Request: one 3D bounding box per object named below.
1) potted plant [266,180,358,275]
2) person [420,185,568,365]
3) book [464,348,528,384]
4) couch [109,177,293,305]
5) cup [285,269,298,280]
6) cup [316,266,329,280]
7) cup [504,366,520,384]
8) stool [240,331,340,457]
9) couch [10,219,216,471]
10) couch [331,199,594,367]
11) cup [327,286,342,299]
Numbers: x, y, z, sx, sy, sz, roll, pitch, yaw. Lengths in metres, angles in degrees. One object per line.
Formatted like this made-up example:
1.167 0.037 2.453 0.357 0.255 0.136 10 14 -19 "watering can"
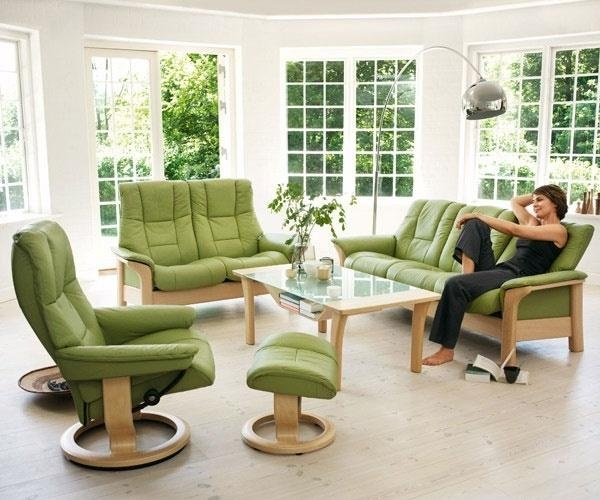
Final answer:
0.110 -0.204 5.366 1.202 0.921 0.990 3 12 9 "potted plant"
1.372 0.123 4.106 1.331 1.212 0.616 -5 15 -22 "person"
1.289 0.751 3.555 0.309 0.099 0.214 1 4 14 "book"
-0.887 -0.072 5.050 1.653 0.961 0.814 -9 23 -35 "couch"
-0.058 0.181 4.091 0.084 0.054 0.077 2 8 0 "cup"
0.171 0.170 4.024 0.109 0.078 0.084 6 9 35 "cup"
1.356 0.790 3.480 0.138 0.080 0.108 0 -3 9 "cup"
-0.044 0.775 2.948 0.584 0.399 0.702 0 -3 3 "stool"
-0.983 0.364 3.165 1.461 1.327 1.175 0 11 -14 "couch"
1.238 0.281 4.153 0.747 0.555 1.417 -5 8 -30 "couch"
0.219 0.280 3.550 0.093 0.055 0.078 3 0 -11 "cup"
